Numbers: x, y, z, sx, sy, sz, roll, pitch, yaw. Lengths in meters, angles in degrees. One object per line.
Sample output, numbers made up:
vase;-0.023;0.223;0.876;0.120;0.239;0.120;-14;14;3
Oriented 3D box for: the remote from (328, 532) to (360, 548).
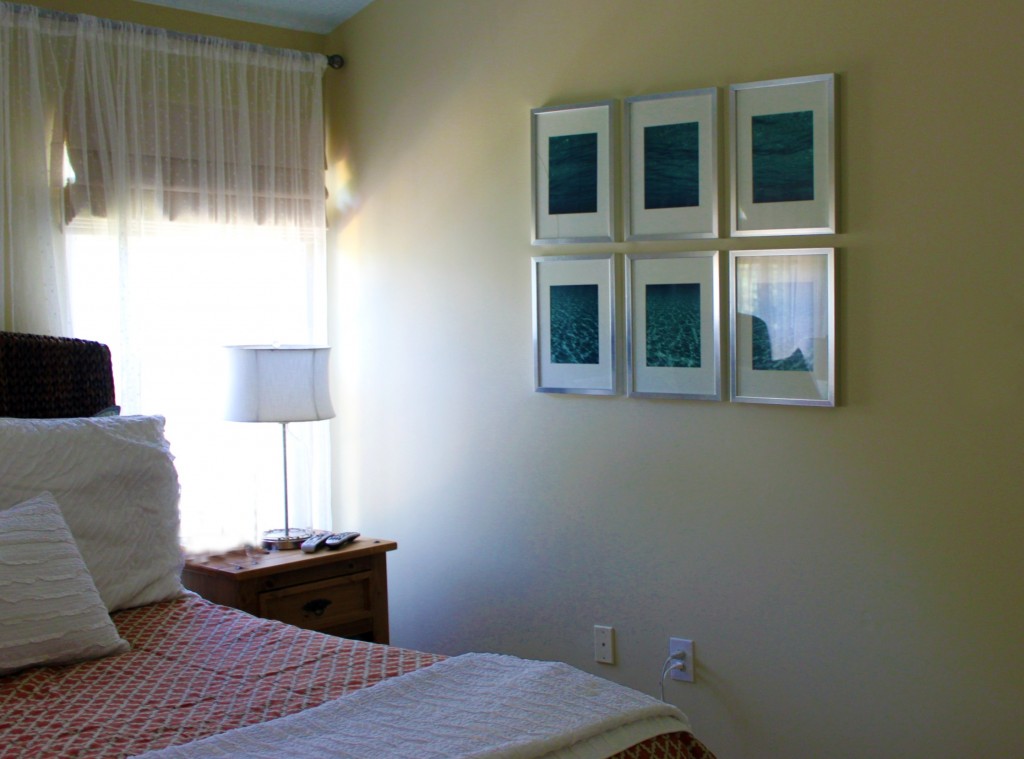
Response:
remote;-0.692;0.646;3.258;0.052;0.026;0.106;2;3;10
